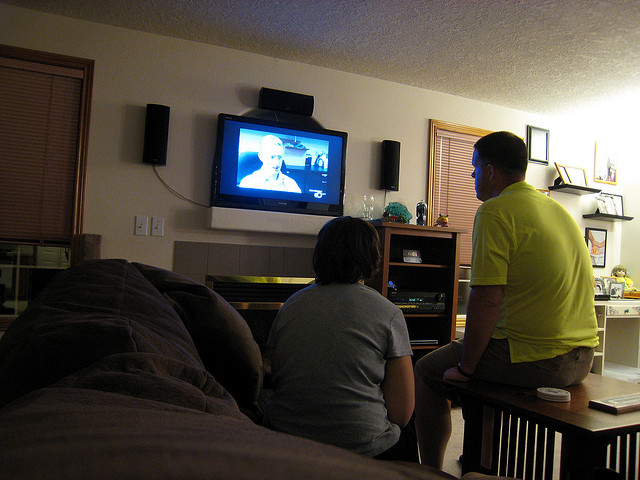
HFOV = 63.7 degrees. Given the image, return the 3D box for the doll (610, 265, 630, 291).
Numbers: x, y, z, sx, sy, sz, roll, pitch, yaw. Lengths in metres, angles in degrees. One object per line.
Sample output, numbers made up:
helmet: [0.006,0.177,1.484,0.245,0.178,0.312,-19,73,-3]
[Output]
doll: [3.023,0.384,5.188,0.193,0.262,0.415,10,5,31]

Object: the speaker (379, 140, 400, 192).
speaker: [0.553,-0.583,4.079,0.177,0.383,0.100,-1,5,-40]

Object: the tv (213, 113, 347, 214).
tv: [-0.330,-0.537,3.720,0.776,0.477,0.078,4,1,-19]
